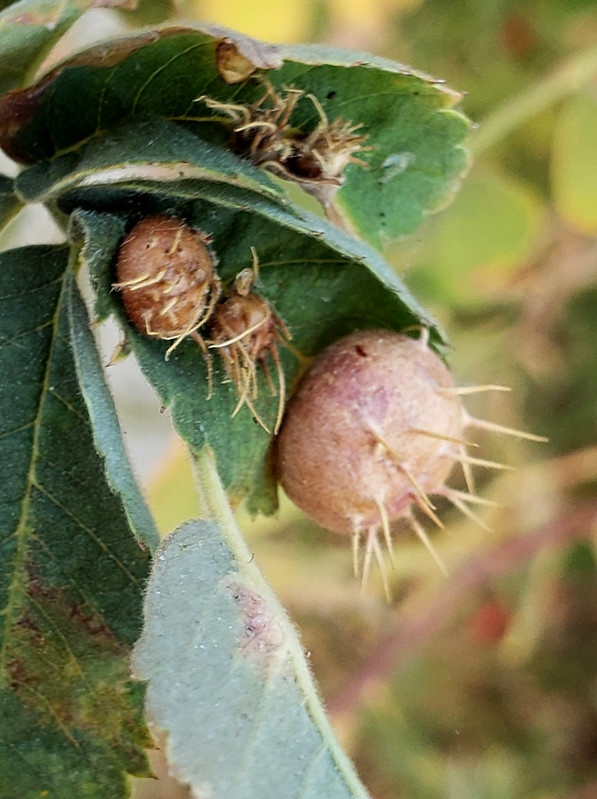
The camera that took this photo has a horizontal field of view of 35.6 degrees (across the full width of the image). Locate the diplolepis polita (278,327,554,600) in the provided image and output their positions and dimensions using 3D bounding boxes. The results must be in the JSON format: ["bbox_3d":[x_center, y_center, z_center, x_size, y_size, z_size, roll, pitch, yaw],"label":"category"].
[{"bbox_3d":[0.060,0.056,0.835,0.194,0.224,0.212,22,66,10],"label":"diplolepis polita"}]

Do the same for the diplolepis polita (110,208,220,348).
[{"bbox_3d":[-0.094,-0.088,0.668,0.091,0.086,0.060,-14,21,-35],"label":"diplolepis polita"}]

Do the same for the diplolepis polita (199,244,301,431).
[{"bbox_3d":[-0.038,-0.048,0.723,0.090,0.054,0.124,-7,86,-8],"label":"diplolepis polita"}]
